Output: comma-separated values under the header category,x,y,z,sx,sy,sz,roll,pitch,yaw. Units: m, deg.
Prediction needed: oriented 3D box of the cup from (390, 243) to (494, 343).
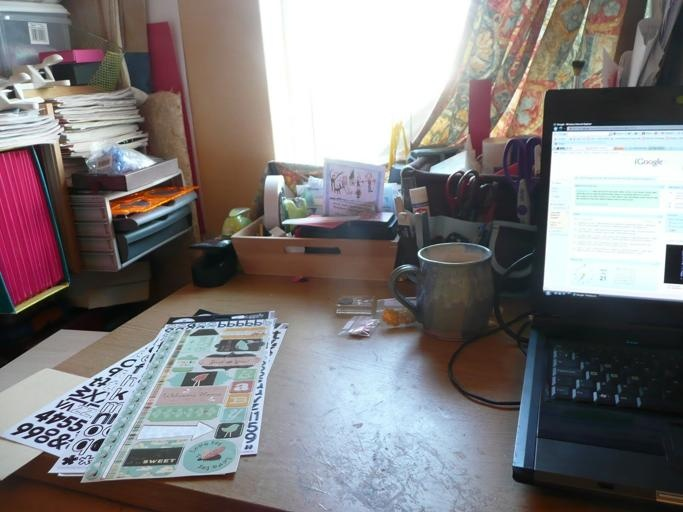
category,x,y,z,sx,sy,sz,roll,pitch,yaw
cup,0.211,0.068,0.981,0.184,0.176,0.172,6,20,-2

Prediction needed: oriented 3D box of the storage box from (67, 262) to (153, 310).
category,x,y,z,sx,sy,sz,roll,pitch,yaw
storage box,-0.780,0.075,1.751,0.236,0.151,0.210,31,25,36

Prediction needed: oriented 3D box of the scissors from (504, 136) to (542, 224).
category,x,y,z,sx,sy,sz,roll,pitch,yaw
scissors,0.352,-0.142,0.971,0.047,0.152,0.108,12,27,19
